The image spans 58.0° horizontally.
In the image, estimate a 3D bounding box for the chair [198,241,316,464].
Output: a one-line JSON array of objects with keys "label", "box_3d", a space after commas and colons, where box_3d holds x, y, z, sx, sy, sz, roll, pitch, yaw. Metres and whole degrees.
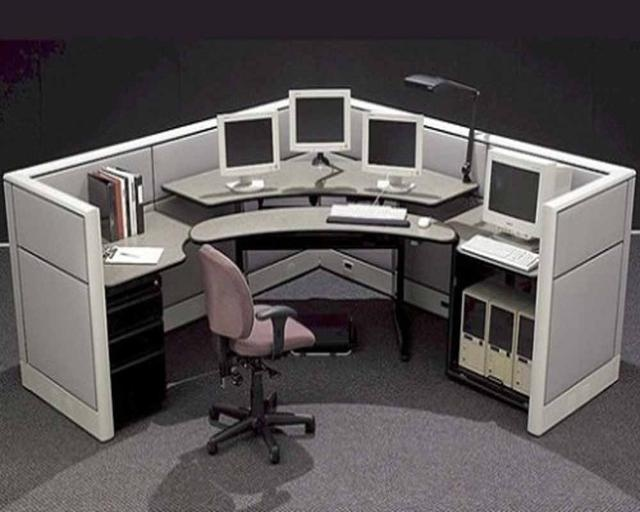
[{"label": "chair", "box_3d": [-0.384, 0.599, 3.389, 0.541, 1.032, 0.602, -10, 37, -18]}]
